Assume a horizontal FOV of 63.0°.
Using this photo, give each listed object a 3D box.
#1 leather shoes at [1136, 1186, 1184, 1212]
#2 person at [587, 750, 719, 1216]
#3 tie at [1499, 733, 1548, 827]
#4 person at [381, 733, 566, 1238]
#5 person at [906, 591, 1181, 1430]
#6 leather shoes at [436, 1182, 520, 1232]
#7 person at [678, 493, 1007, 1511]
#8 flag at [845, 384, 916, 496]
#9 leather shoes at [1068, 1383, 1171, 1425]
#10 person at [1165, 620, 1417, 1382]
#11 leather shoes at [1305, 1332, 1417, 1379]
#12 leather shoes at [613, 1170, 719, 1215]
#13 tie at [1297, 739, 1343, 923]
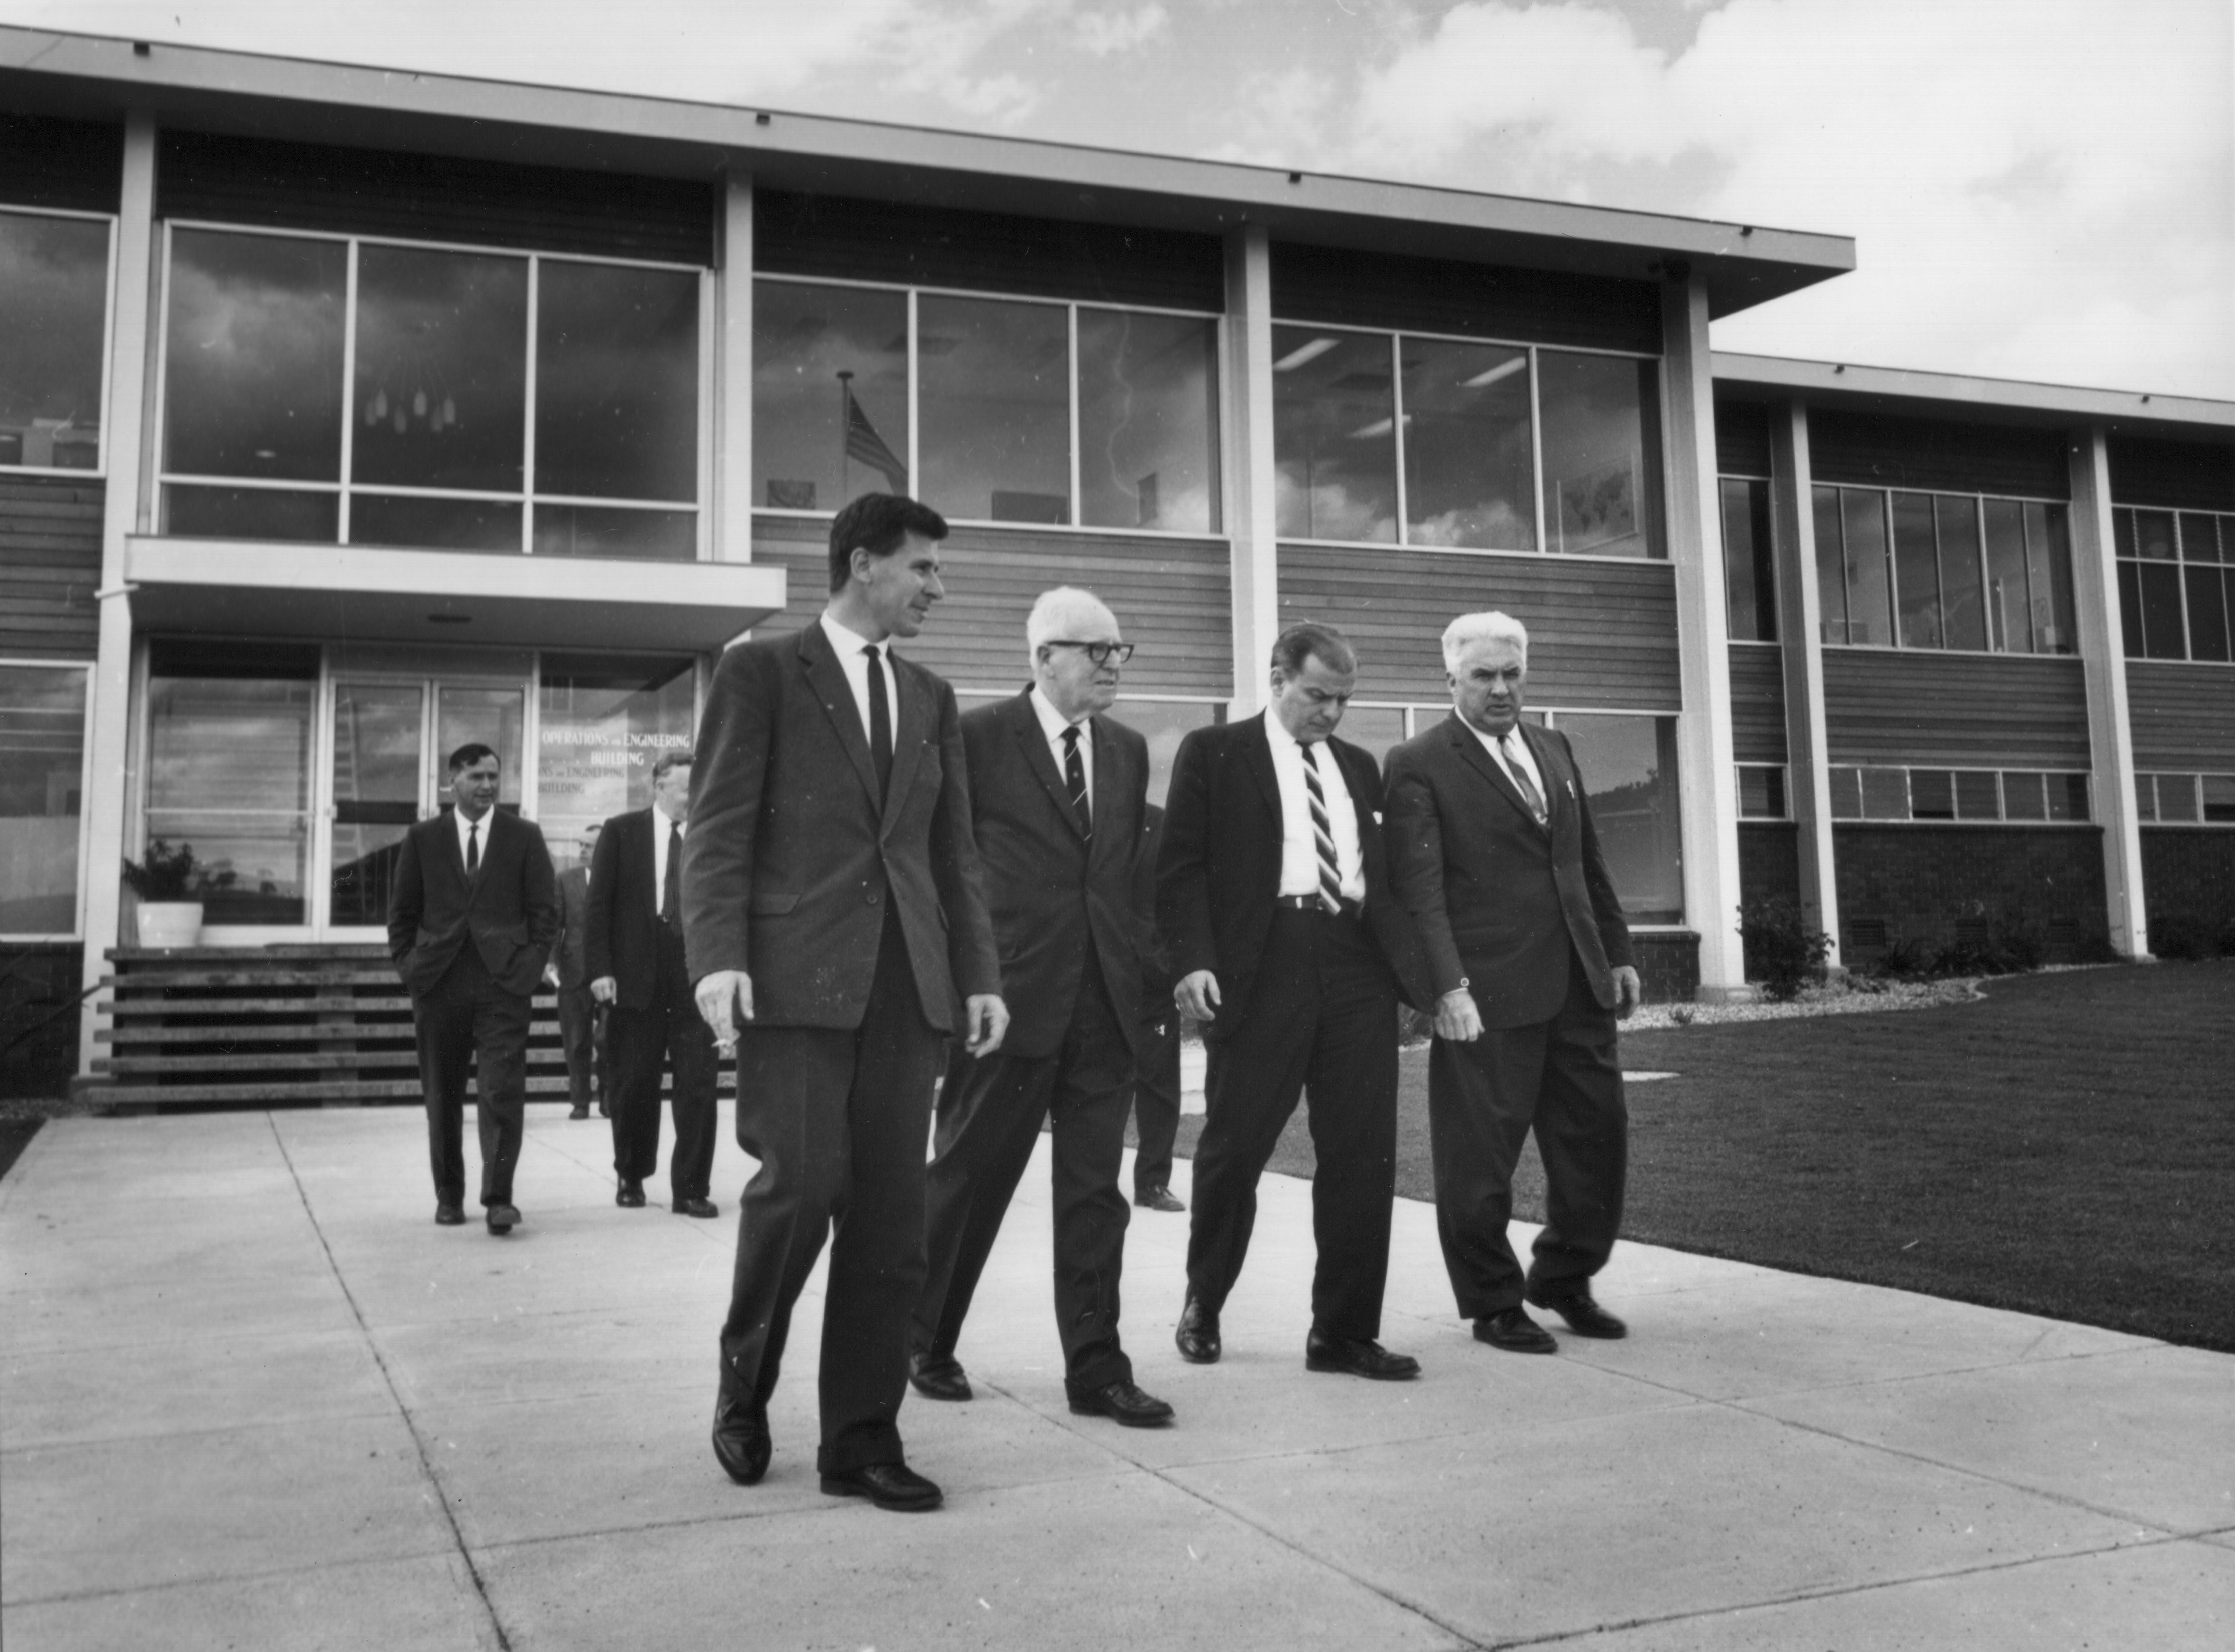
[{"bbox_3d":[0.211,1.807,8.844,0.090,0.110,0.248,6,-10,-42],"label":"leather shoes"},{"bbox_3d":[-2.302,0.761,9.241,0.729,2.292,0.602,1,5,-7],"label":"person"},{"bbox_3d":[1.336,-0.141,6.054,0.055,0.335,0.037,-26,-26,-2],"label":"tie"},{"bbox_3d":[-3.029,0.712,8.595,0.737,2.375,0.767,-1,0,0],"label":"person"},{"bbox_3d":[-0.253,0.550,5.601,0.797,2.413,0.714,1,-2,-5],"label":"person"},{"bbox_3d":[-2.954,1.737,8.298,0.568,0.256,0.173,-10,-12,40],"label":"leather shoes"},{"bbox_3d":[-0.678,0.386,4.661,0.804,2.507,0.599,-1,0,-18],"label":"person"},{"bbox_3d":[-2.290,-3.725,17.149,0.653,1.102,0.310,-1,0,-5],"label":"flag"},{"bbox_3d":[0.008,1.597,5.092,0.273,0.112,0.103,-11,-12,34],"label":"leather shoes"},{"bbox_3d":[0.504,0.523,5.652,0.738,2.086,0.407,-1,0,2],"label":"person"},{"bbox_3d":[0.741,1.595,5.542,0.307,0.138,0.120,-4,-7,18],"label":"leather shoes"},{"bbox_3d":[-2.198,1.765,8.927,0.201,0.295,0.666,4,-7,-43],"label":"leather shoes"},{"bbox_3d":[0.637,0.024,5.687,0.074,0.554,0.062,-11,-21,-10],"label":"tie"}]
